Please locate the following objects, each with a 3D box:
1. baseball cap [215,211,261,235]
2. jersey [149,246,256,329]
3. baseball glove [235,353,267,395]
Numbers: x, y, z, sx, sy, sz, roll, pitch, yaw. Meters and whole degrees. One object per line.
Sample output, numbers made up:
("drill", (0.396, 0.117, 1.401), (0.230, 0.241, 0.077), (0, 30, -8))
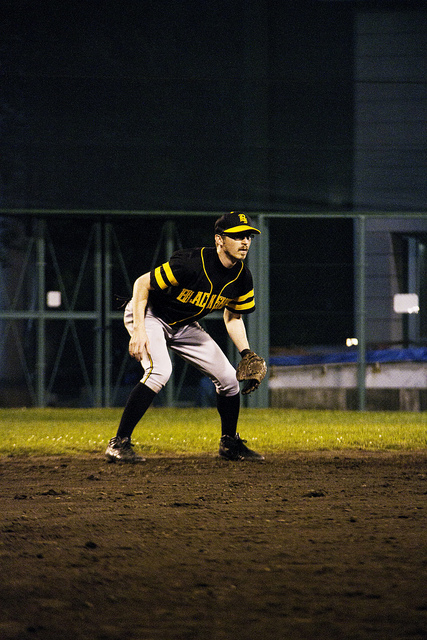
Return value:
("baseball cap", (0.142, -0.681, 8.517), (0.244, 0.149, 0.165), (1, 3, 43))
("jersey", (-0.276, -0.258, 8.909), (0.897, 0.371, 0.995), (-8, 21, -29))
("baseball glove", (0.272, 0.410, 8.886), (0.222, 0.321, 0.422), (0, 5, 1))
